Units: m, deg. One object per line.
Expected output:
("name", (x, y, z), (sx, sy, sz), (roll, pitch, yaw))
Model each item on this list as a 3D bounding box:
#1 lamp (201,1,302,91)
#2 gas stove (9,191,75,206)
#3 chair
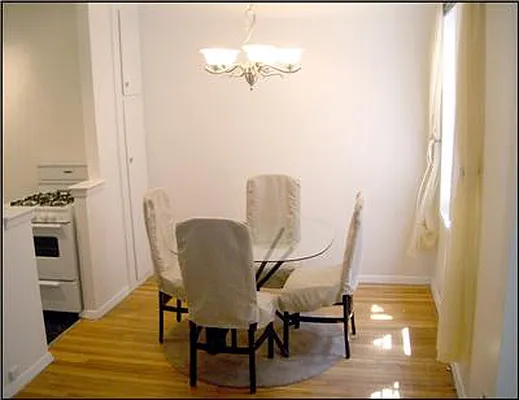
("lamp", (-0.039, -1.475, 3.773), (0.857, 0.999, 0.948), (1, 15, 4))
("gas stove", (-1.897, -0.011, 3.711), (0.554, 0.062, 0.395), (-1, 11, 8))
("chair", (0.170, 0.538, 3.700), (1.424, 1.087, 1.505), (0, 7, 8))
